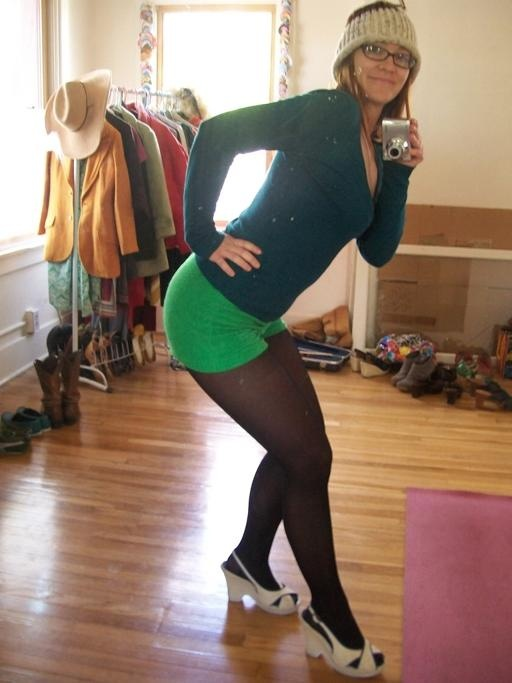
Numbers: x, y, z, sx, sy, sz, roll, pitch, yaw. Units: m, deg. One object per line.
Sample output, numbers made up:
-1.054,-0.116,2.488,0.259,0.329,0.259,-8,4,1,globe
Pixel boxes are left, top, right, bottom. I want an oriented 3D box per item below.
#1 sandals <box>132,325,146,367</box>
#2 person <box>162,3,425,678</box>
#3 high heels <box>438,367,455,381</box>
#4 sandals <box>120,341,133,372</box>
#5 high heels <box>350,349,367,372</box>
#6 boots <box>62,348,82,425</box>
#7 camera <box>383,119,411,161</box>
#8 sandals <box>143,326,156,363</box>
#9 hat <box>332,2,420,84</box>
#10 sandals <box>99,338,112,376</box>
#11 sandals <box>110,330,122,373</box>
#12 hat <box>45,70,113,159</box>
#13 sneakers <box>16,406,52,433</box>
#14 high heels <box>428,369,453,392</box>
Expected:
-0.701,0.019,3.306,0.086,0.232,0.075,-6,-5,37,sandals
0.074,0.045,1.091,0.413,1.366,0.442,5,11,23,person
1.120,0.186,3.252,0.101,0.051,0.075,24,17,18,high heels
-0.779,0.097,3.350,0.059,0.204,0.078,1,4,8,sandals
0.643,0.127,3.521,0.057,0.074,0.174,3,19,12,high heels
-0.871,0.218,2.605,0.087,0.324,0.139,-3,11,-18,boots
0.248,-0.365,0.995,0.058,0.084,0.066,-1,28,9,camera
-0.661,0.023,3.405,0.064,0.194,0.066,4,-14,-35,sandals
0.216,-0.536,0.993,0.118,0.112,0.133,5,0,-1,hat
-0.872,0.084,3.189,0.067,0.223,0.085,-8,-12,0,sandals
-0.832,0.057,3.299,0.082,0.249,0.097,-1,4,1,sandals
-0.754,-0.993,2.558,0.349,0.437,0.166,17,10,29,hat
-0.994,0.351,2.471,0.158,0.052,0.088,28,26,31,sneakers
1.068,0.208,3.172,0.099,0.071,0.169,3,33,12,high heels
